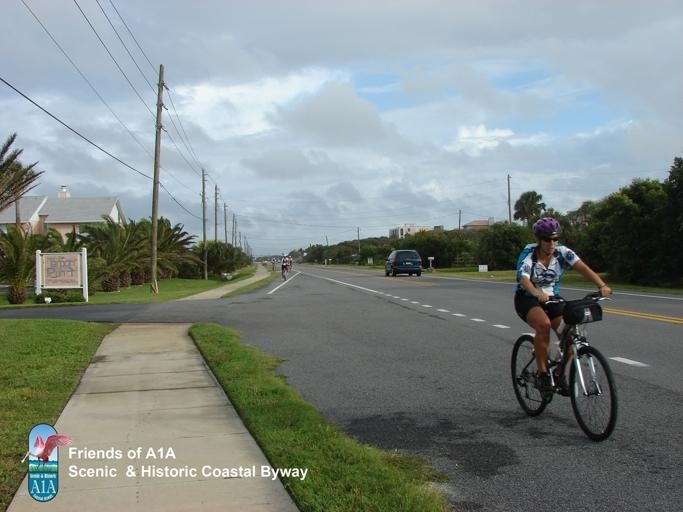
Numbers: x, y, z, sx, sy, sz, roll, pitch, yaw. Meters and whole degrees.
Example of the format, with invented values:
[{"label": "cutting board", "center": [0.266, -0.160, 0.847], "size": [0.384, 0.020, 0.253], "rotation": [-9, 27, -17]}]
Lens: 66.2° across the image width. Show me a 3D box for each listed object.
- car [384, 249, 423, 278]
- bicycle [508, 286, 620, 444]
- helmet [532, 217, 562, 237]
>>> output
[{"label": "car", "center": [5.607, 0.495, 47.735], "size": [2.034, 2.303, 3.278], "rotation": [2, -3, -40]}, {"label": "bicycle", "center": [2.660, 1.204, 6.265], "size": [0.529, 1.567, 1.697], "rotation": [0, -2, -10]}, {"label": "helmet", "center": [2.465, -0.315, 6.295], "size": [0.235, 0.289, 0.298], "rotation": [1, -7, -4]}]
